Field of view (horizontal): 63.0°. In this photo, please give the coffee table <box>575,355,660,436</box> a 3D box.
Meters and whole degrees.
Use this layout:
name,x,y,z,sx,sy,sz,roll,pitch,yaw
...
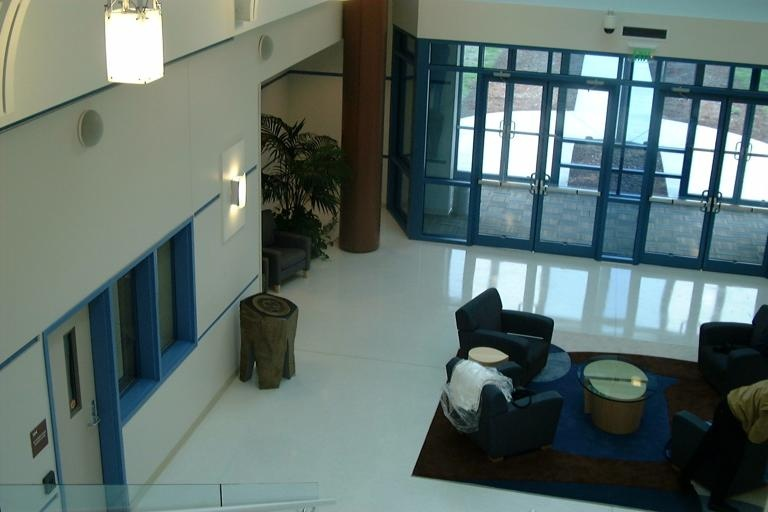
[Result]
name,x,y,z,sx,sy,sz,roll,pitch,yaw
coffee table,3.236,1.970,8.804,0.799,0.602,1.042,-4,18,-8

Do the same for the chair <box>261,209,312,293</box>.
name,x,y,z,sx,sy,sz,roll,pitch,yaw
chair,-2.022,-0.118,11.704,1.029,1.223,1.214,8,22,17
